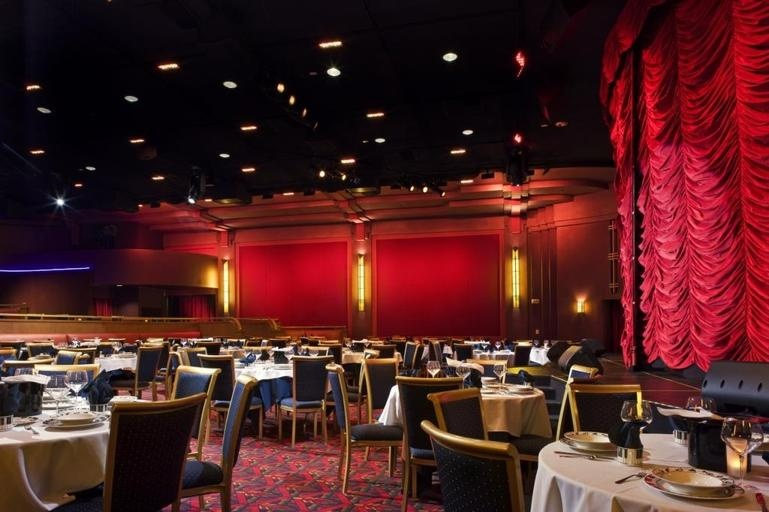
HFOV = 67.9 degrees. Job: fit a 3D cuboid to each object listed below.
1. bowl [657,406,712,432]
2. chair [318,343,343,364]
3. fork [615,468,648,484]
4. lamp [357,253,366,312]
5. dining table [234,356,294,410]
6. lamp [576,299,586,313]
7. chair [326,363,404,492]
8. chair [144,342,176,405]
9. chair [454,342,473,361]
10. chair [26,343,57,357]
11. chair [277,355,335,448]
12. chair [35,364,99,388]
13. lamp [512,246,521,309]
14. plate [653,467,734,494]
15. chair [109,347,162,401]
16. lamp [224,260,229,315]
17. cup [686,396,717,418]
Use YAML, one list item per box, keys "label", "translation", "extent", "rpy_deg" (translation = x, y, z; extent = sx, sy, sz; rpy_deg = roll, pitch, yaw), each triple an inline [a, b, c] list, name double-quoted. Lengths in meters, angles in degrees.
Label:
- label: "bowl"
  translation: [2.140, 1.154, 4.087]
  extent: [0.290, 0.116, 0.277]
  rpy_deg: [-1, -9, 0]
- label: "chair"
  translation: [-0.881, 1.594, 9.482]
  extent: [0.345, 0.412, 0.375]
  rpy_deg: [-1, -5, 16]
- label: "fork"
  translation: [1.569, 1.399, 3.612]
  extent: [0.280, 0.024, 0.080]
  rpy_deg: [-2, 3, -29]
- label: "lamp"
  translation: [-0.760, 0.876, 19.193]
  extent: [0.289, 1.890, 0.459]
  rpy_deg: [-1, 5, -3]
- label: "dining table"
  translation: [-1.608, 1.755, 7.998]
  extent: [1.065, 0.667, 1.086]
  rpy_deg: [1, -7, -1]
- label: "lamp"
  translation: [5.626, 1.406, 16.330]
  extent: [0.351, 0.459, 0.081]
  rpy_deg: [3, 6, 43]
- label: "chair"
  translation: [-0.166, 1.823, 6.207]
  extent: [0.864, 1.232, 0.694]
  rpy_deg: [1, -7, -7]
- label: "chair"
  translation: [-4.012, 2.083, 10.032]
  extent: [0.526, 0.806, 0.502]
  rpy_deg: [-12, -6, 0]
- label: "chair"
  translation: [1.520, 1.838, 11.027]
  extent: [0.295, 0.324, 0.285]
  rpy_deg: [1, -6, -2]
- label: "chair"
  translation: [-5.723, 1.562, 9.537]
  extent: [0.410, 0.201, 0.566]
  rpy_deg: [-3, 4, -32]
- label: "chair"
  translation: [-1.036, 1.868, 7.572]
  extent: [0.614, 1.072, 0.693]
  rpy_deg: [3, -6, -25]
- label: "chair"
  translation: [-2.930, 1.101, 5.234]
  extent: [0.260, 0.321, 0.263]
  rpy_deg: [-8, -18, 26]
- label: "lamp"
  translation: [4.087, 0.646, 17.641]
  extent: [0.252, 1.840, 0.355]
  rpy_deg: [0, 5, 12]
- label: "plate"
  translation: [1.907, 1.378, 3.503]
  extent: [0.209, 0.053, 0.214]
  rpy_deg: [-3, 1, 7]
- label: "chair"
  translation: [-4.052, 1.978, 9.321]
  extent: [0.679, 0.931, 0.563]
  rpy_deg: [-3, -9, 20]
- label: "lamp"
  translation: [-5.790, 1.105, 20.869]
  extent: [0.294, 1.977, 0.436]
  rpy_deg: [-2, 5, -14]
- label: "cup"
  translation: [2.371, 1.105, 4.252]
  extent: [0.164, 0.157, 0.164]
  rpy_deg: [-1, -9, 0]
